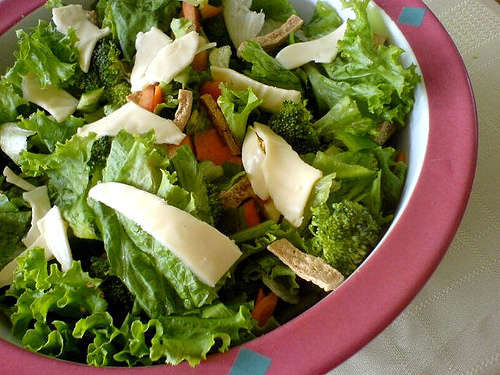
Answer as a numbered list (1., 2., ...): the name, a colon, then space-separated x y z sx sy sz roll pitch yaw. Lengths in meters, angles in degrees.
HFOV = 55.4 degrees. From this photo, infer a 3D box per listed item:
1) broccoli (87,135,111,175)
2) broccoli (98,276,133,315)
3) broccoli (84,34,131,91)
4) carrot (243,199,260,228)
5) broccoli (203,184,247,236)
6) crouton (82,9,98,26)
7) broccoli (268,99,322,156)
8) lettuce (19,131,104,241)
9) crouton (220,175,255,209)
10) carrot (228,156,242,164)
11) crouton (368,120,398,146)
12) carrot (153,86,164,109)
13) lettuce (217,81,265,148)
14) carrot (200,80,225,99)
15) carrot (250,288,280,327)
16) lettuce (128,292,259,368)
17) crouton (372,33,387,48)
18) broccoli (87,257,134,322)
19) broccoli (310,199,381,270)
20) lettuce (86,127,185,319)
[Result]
1. broccoli: -0.313 -0.069 1.023 0.045 0.055 0.072 15 94 46
2. broccoli: -0.265 0.212 0.952 0.053 0.076 0.074 -12 18 -24
3. broccoli: -0.326 -0.288 1.151 0.123 0.045 0.125 -32 72 11
4. carrot: 0.001 0.053 1.001 0.044 0.013 0.053 -15 91 -6
5. broccoli: -0.050 0.040 0.965 0.056 0.095 0.094 -13 65 14
6. crouton: -0.395 -0.423 1.186 0.013 0.040 0.034 -24 66 -13
7. broccoli: 0.104 -0.143 1.070 0.073 0.115 0.117 -23 32 -39
8. lettuce: -0.358 0.034 1.024 0.128 0.267 0.114 2 31 22
9. crouton: -0.027 0.012 0.990 0.087 0.043 0.025 -49 29 -20
10. carrot: -0.035 -0.063 1.054 0.018 0.005 0.018 -3 55 -13
11. crouton: 0.296 -0.118 1.071 0.043 0.018 0.070 38 80 -12
12. carrot: -0.198 -0.197 1.038 0.024 0.031 0.036 16 37 -18
13. lettuce: -0.019 -0.166 1.023 0.059 0.135 0.083 -13 27 -12
14. carrot: -0.084 -0.220 1.067 0.039 0.039 0.049 -24 73 21
15. carrot: 0.027 0.241 0.955 0.042 0.019 0.080 27 81 -5
16. lettuce: -0.107 0.262 0.845 0.214 0.087 0.106 -26 62 9
17. crouton: 0.288 -0.329 1.068 0.035 0.012 0.041 4 78 6
18. broccoli: -0.270 0.202 0.946 0.043 0.131 0.115 -27 25 -16
19. broccoli: 0.182 0.074 0.876 0.123 0.131 0.064 0 19 4
20. lettuce: -0.242 0.085 0.965 0.207 0.097 0.337 -27 87 -38
